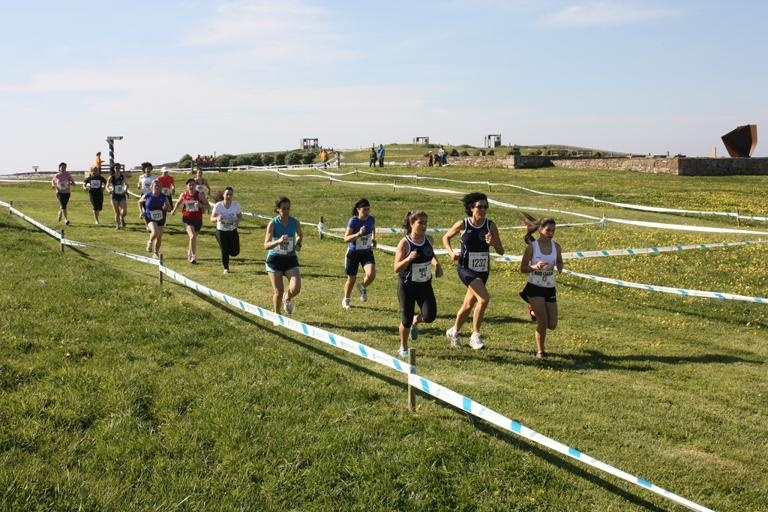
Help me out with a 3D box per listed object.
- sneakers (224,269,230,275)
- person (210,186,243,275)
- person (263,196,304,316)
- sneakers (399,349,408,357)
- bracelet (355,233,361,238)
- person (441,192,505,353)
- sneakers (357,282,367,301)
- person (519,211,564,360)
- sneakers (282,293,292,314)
[{"bbox_3d":[-3.859,0.397,17.026,0.124,0.130,0.083,-4,1,30],"label":"sneakers"},{"bbox_3d":[-3.849,-0.620,16.926,0.651,2.117,1.526,0,8,-13],"label":"person"},{"bbox_3d":[-1.996,0.003,13.817,0.667,2.316,1.202,0,8,-8],"label":"person"},{"bbox_3d":[0.305,1.657,11.918,0.171,0.134,0.124,5,9,23],"label":"sneakers"},{"bbox_3d":[-0.530,-0.424,14.562,0.072,0.073,0.128,4,9,19],"label":"bracelet"},{"bbox_3d":[1.604,0.251,12.868,1.015,2.802,0.993,2,7,4],"label":"person"},{"bbox_3d":[-0.457,0.786,15.464,0.147,0.445,0.184,-4,-29,-30],"label":"sneakers"},{"bbox_3d":[2.804,0.553,12.587,0.715,2.457,0.838,3,8,13],"label":"person"},{"bbox_3d":[-1.901,0.961,13.833,0.186,0.421,0.162,-6,6,43],"label":"sneakers"}]
